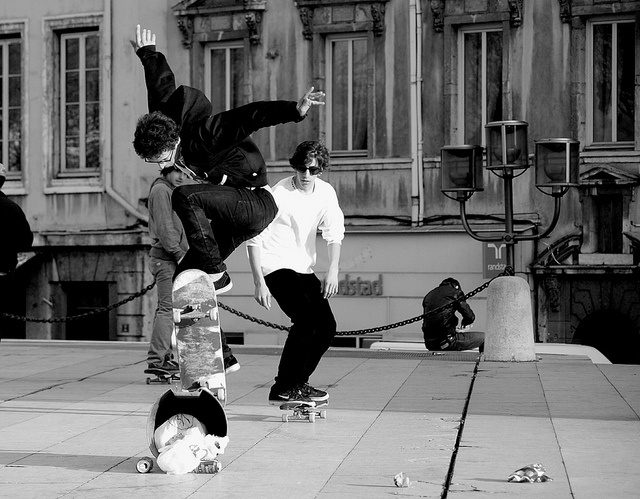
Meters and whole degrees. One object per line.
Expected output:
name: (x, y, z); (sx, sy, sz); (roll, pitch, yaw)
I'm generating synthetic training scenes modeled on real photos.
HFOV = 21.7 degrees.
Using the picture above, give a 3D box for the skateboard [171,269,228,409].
skateboard: (-1.182, 0.844, 16.266); (0.479, 1.653, 0.244); (-2, -38, -7)

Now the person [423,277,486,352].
person: (1.971, 0.975, 24.104); (0.743, 1.105, 0.692); (-27, 31, -33)

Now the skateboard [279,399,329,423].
skateboard: (-0.122, 1.700, 17.671); (0.580, 0.196, 0.459); (-4, 9, -18)

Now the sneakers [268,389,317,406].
sneakers: (-0.284, 1.589, 17.704); (0.556, 0.193, 0.177); (0, -4, 2)
